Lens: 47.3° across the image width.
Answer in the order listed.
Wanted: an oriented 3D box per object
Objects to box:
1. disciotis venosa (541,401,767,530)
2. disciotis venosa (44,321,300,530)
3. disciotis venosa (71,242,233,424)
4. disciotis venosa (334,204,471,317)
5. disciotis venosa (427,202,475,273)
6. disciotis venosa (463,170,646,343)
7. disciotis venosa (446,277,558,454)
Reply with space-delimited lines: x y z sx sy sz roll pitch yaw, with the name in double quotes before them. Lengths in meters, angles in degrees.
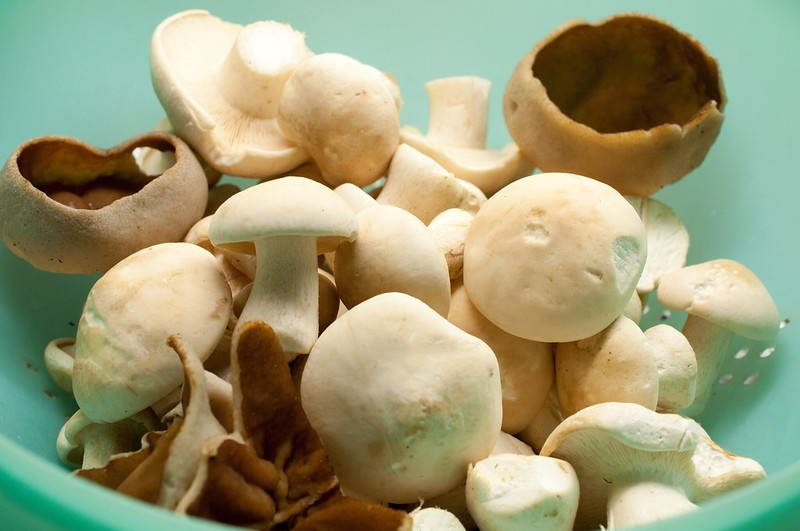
"disciotis venosa" 0.520 0.408 1.880 0.304 0.336 0.179 12 52 -11
"disciotis venosa" -0.390 0.330 1.786 0.402 0.184 0.384 23 52 17
"disciotis venosa" -0.540 0.150 1.929 0.348 0.135 0.317 -54 38 -2
"disciotis venosa" -0.019 -0.010 1.969 0.209 0.121 0.246 -9 87 21
"disciotis venosa" 0.113 -0.063 2.086 0.099 0.052 0.143 -16 59 39
"disciotis venosa" 0.335 -0.017 1.983 0.390 0.254 0.247 8 39 3
"disciotis venosa" 0.211 0.223 2.038 0.132 0.300 0.288 -3 51 5
